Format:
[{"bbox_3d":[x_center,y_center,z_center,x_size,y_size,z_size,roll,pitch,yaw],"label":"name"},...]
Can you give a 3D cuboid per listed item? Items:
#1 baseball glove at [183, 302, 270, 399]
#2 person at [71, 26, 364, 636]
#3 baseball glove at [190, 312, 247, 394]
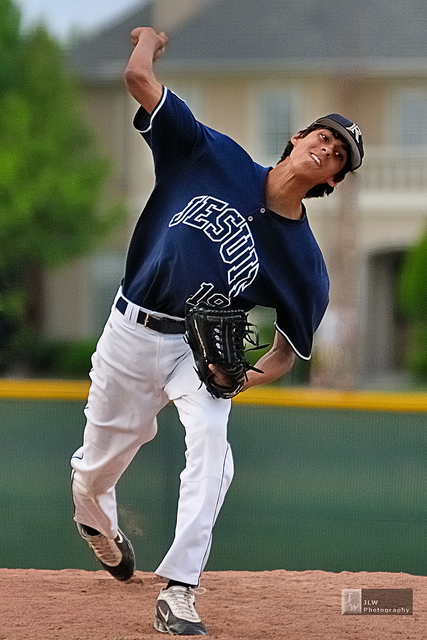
[{"bbox_3d":[0.031,0.101,4.442,0.306,0.117,0.320,-1,49,-8],"label":"baseball glove"},{"bbox_3d":[-0.019,0.003,4.741,0.854,2.172,0.907,-3,7,-34],"label":"person"},{"bbox_3d":[0.037,0.110,4.423,0.242,0.123,0.322,2,45,-11],"label":"baseball glove"}]
